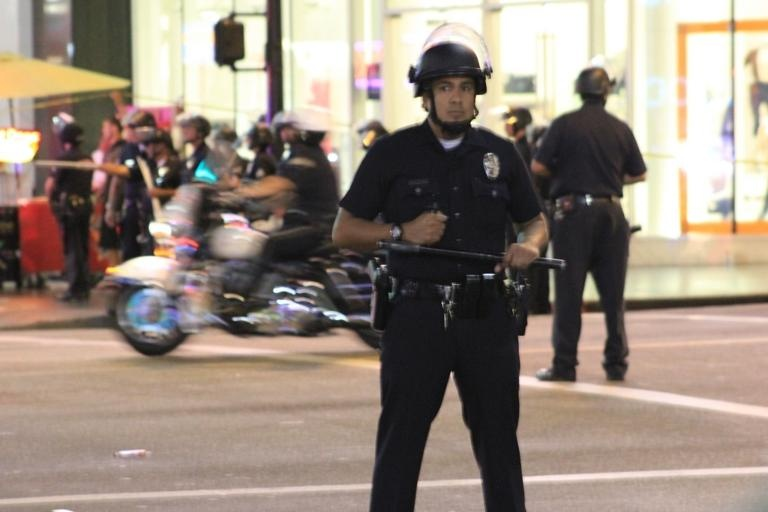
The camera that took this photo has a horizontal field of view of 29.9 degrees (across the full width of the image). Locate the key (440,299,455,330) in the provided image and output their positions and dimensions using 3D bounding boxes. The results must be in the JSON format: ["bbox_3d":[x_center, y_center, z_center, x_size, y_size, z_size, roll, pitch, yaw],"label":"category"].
[{"bbox_3d":[0.486,0.454,10.849,0.118,0.182,0.057,-20,-2,34],"label":"key"}]

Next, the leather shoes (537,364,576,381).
[{"bbox_3d":[1.821,1.235,15.274,0.381,0.152,0.170,4,1,15],"label":"leather shoes"}]

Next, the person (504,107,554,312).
[{"bbox_3d":[1.940,-0.646,19.875,0.858,2.911,0.745,1,-2,-18],"label":"person"}]

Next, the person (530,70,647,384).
[{"bbox_3d":[2.128,-0.344,15.649,1.267,3.345,1.065,-3,6,-12],"label":"person"}]

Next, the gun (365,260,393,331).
[{"bbox_3d":[-0.028,0.299,11.012,0.134,0.426,0.331,-1,4,2],"label":"gun"}]

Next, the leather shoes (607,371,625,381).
[{"bbox_3d":[2.459,1.283,15.268,0.127,0.074,0.122,1,-1,-27],"label":"leather shoes"}]

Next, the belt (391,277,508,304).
[{"bbox_3d":[0.486,0.259,10.887,0.831,0.151,0.122,0,11,1],"label":"belt"}]

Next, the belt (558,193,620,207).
[{"bbox_3d":[2.145,-0.595,15.255,0.682,0.143,0.220,1,11,4],"label":"belt"}]

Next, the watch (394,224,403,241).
[{"bbox_3d":[0.087,-0.176,10.944,0.074,0.111,0.037,-1,11,-1],"label":"watch"}]
